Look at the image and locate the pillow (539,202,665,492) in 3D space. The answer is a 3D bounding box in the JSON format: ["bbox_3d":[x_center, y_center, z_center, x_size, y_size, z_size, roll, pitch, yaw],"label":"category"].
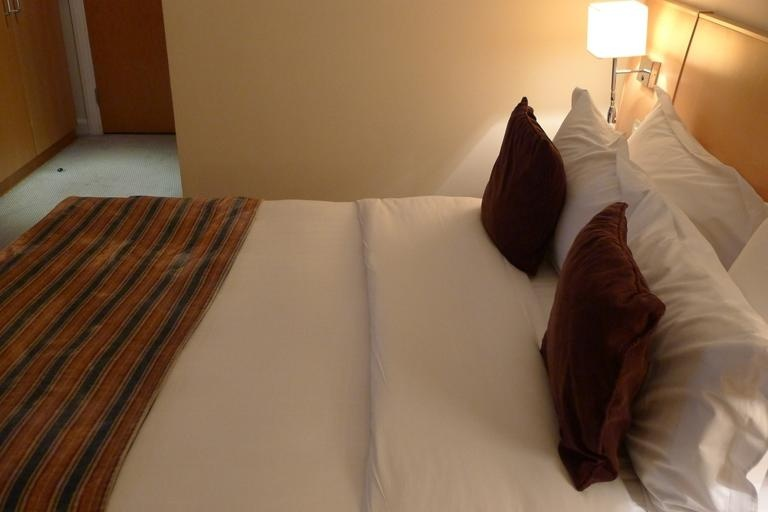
[{"bbox_3d":[0.585,0.263,1.276,0.203,0.426,0.615,5,35,9],"label":"pillow"}]
